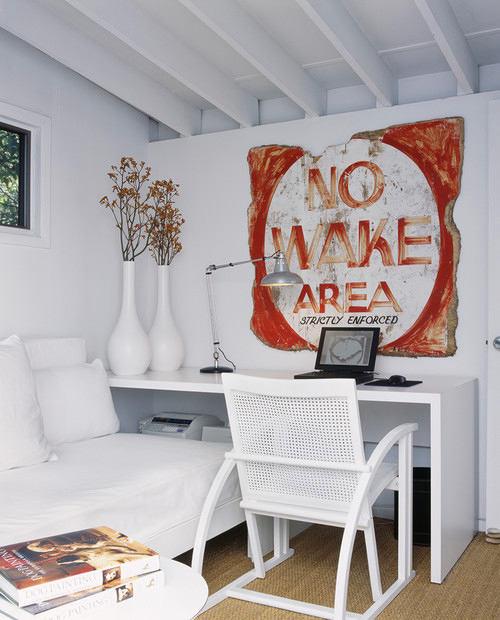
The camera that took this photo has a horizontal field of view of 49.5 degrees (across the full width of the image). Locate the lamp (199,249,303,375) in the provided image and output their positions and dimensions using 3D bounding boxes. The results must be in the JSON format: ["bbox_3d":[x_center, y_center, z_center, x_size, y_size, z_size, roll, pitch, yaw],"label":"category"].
[{"bbox_3d":[0.004,0.016,3.013,0.734,0.673,0.261,-2,3,36],"label":"lamp"}]

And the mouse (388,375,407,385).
[{"bbox_3d":[0.649,0.309,2.396,0.056,0.028,0.041,-2,7,8],"label":"mouse"}]

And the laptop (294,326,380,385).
[{"bbox_3d":[0.432,0.227,2.782,0.368,0.237,0.315,-2,3,44],"label":"laptop"}]
